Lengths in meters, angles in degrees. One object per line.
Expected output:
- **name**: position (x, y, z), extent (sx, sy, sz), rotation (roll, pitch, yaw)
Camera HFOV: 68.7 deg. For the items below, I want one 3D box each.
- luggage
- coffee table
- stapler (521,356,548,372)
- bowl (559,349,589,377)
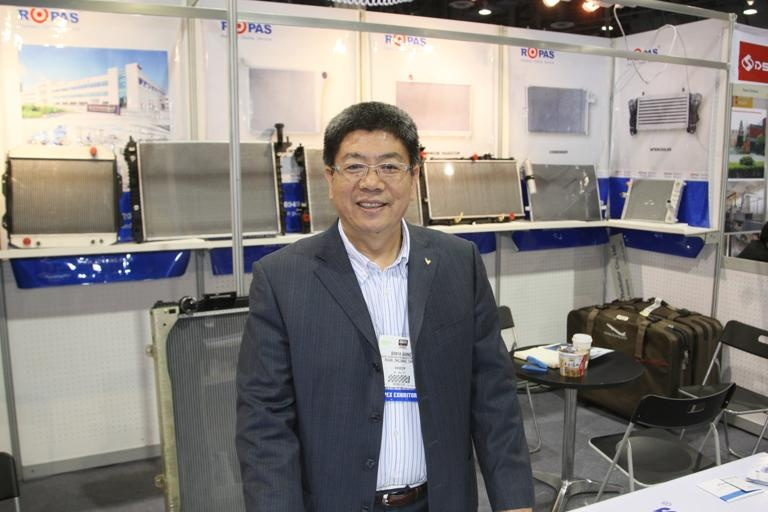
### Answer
- **luggage**: position (2.614, 1.017, 5.783), extent (0.774, 1.185, 1.231), rotation (-9, 11, -24)
- **coffee table**: position (1.573, 1.352, 4.857), extent (1.161, 1.295, 1.147), rotation (-6, 13, -26)
- **stapler**: position (1.173, 0.849, 4.368), extent (0.131, 0.041, 0.105), rotation (11, 31, 39)
- **bowl**: position (1.405, 0.802, 4.187), extent (0.197, 0.163, 0.197), rotation (1, 1, 0)
